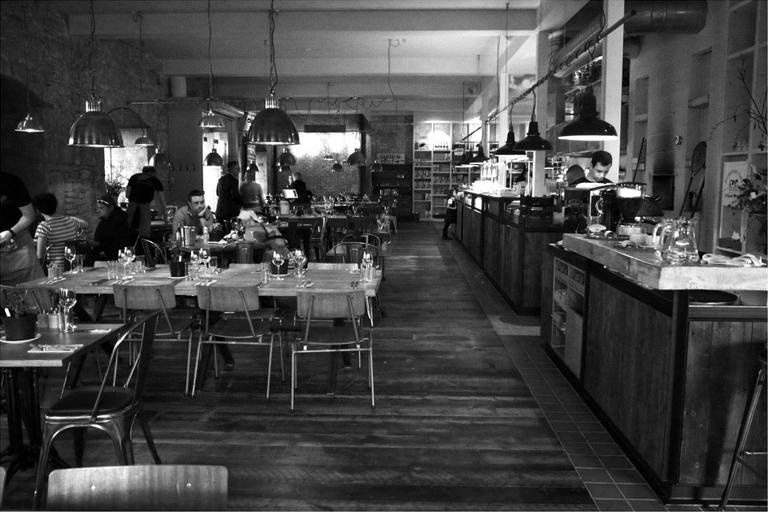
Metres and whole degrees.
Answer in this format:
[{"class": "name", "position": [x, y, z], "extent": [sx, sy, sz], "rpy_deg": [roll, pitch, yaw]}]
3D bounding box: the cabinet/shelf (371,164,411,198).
[{"class": "cabinet/shelf", "position": [0.155, -2.608, 23.024], "extent": [1.313, 1.126, 0.397], "rpy_deg": [1, 4, 4]}]

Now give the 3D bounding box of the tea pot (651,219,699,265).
[{"class": "tea pot", "position": [2.179, -0.123, 5.220], "extent": [0.401, 0.384, 0.275], "rpy_deg": [-1, 3, -2]}]

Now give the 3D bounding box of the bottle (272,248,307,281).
[{"class": "bottle", "position": [-1.034, 0.091, 7.065], "extent": [0.246, 0.323, 0.388], "rpy_deg": [1, -4, -38]}]

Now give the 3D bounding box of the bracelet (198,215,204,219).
[{"class": "bracelet", "position": [-2.741, -0.592, 10.215], "extent": [0.066, 0.040, 0.129], "rpy_deg": [0, 5, 24]}]

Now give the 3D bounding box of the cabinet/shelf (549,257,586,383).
[{"class": "cabinet/shelf", "position": [1.812, 0.636, 6.726], "extent": [0.370, 1.061, 1.174], "rpy_deg": [1, 4, 5]}]

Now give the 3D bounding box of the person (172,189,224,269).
[{"class": "person", "position": [-2.677, -0.339, 9.876], "extent": [0.734, 1.143, 0.733], "rpy_deg": [0, 1, -5]}]

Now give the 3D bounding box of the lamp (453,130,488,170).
[{"class": "lamp", "position": [2.164, -2.524, 16.037], "extent": [0.866, 0.960, 2.249], "rpy_deg": [-1, 2, 2]}]

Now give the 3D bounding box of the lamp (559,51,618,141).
[{"class": "lamp", "position": [2.029, -1.455, 6.852], "extent": [0.492, 0.531, 0.485], "rpy_deg": [-7, 11, -32]}]
